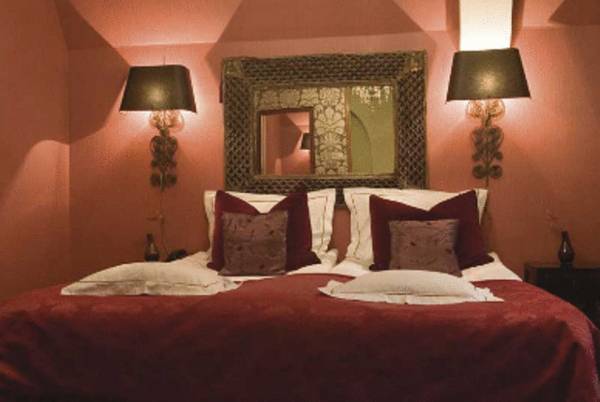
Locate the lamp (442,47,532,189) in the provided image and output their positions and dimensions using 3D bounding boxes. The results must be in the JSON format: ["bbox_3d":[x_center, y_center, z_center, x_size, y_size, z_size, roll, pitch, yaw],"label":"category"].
[{"bbox_3d":[1.526,-0.666,4.264,0.627,1.081,0.303,0,-1,15],"label":"lamp"}]

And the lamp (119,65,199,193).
[{"bbox_3d":[-1.225,-0.630,4.547,0.621,1.038,0.354,0,-1,-8],"label":"lamp"}]

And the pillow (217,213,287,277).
[{"bbox_3d":[-0.352,0.339,3.876,0.421,0.409,0.157,0,-16,0],"label":"pillow"}]

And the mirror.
[{"bbox_3d":[0.301,-0.685,4.471,1.247,0.901,0.097,0,0,8],"label":"mirror"}]
